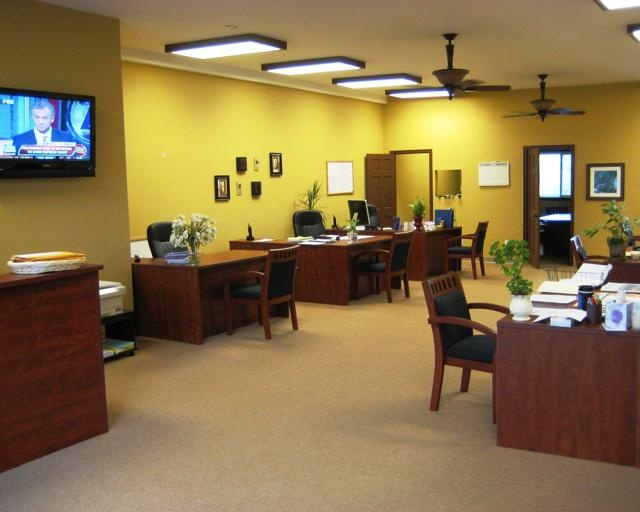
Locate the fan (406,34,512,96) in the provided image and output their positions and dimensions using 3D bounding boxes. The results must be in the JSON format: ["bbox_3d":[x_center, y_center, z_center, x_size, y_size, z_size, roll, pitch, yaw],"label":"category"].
[{"bbox_3d":[1.794,-2.563,6.774,1.382,0.854,1.388,0,1,9],"label":"fan"}]

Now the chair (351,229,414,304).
[{"bbox_3d":[1.133,0.102,7.912,0.943,1.353,0.964,3,5,28],"label":"chair"}]

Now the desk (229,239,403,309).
[{"bbox_3d":[-0.008,0.174,7.584,1.362,0.581,1.388,2,7,20],"label":"desk"}]

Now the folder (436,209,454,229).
[{"bbox_3d":[2.449,-0.732,9.740,0.381,0.443,0.349,7,8,43],"label":"folder"}]

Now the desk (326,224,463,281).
[{"bbox_3d":[1.954,-0.082,9.034,1.663,0.836,1.019,3,8,24],"label":"desk"}]

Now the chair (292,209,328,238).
[{"bbox_3d":[-0.264,-0.562,8.421,0.433,0.614,0.503,-2,5,-43],"label":"chair"}]

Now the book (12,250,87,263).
[{"bbox_3d":[-1.861,0.014,3.385,0.384,0.042,0.381,4,10,36],"label":"book"}]

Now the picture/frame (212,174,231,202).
[{"bbox_3d":[-1.606,-1.108,8.107,0.053,0.521,0.429,2,6,31],"label":"picture/frame"}]

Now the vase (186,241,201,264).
[{"bbox_3d":[-1.407,-0.046,5.602,0.124,0.255,0.265,-4,8,-15],"label":"vase"}]

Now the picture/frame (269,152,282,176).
[{"bbox_3d":[-0.810,-1.683,9.112,0.046,0.468,0.451,1,4,31],"label":"picture/frame"}]

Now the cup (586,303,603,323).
[{"bbox_3d":[1.656,0.345,3.031,0.100,0.114,0.107,0,0,0],"label":"cup"}]

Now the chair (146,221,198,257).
[{"bbox_3d":[-1.837,-0.203,6.302,0.446,0.544,0.381,3,5,28],"label":"chair"}]

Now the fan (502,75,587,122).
[{"bbox_3d":[3.924,-2.828,8.971,1.443,0.791,1.184,-12,17,-19],"label":"fan"}]
